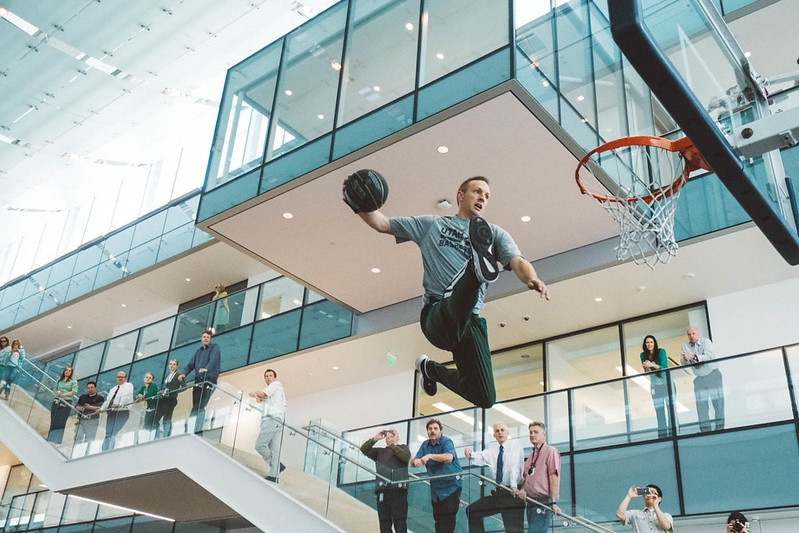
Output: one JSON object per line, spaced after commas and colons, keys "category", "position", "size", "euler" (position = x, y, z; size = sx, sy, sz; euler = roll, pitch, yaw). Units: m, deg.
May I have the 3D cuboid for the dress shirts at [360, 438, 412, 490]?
{"category": "dress shirts", "position": [-0.243, 3.251, 8.758], "size": [0.847, 0.883, 0.482], "euler": [-2, -54, 4]}

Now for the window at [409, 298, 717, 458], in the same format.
{"category": "window", "position": [3.393, 2.052, 10.122], "size": [4.224, 2.289, 0.146], "euler": [-16, -40, 27]}

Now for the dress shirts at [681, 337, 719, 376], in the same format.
{"category": "dress shirts", "position": [5.529, 1.705, 10.018], "size": [0.572, 0.703, 0.744], "euler": [-12, -15, 32]}

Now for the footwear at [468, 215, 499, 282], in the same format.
{"category": "footwear", "position": [0.667, -0.140, 4.268], "size": [0.208, 0.528, 0.217], "euler": [-4, -17, -22]}

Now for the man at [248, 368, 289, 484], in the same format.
{"category": "man", "position": [-2.545, 3.083, 10.331], "size": [1.133, 2.266, 0.857], "euler": [2, -63, -10]}

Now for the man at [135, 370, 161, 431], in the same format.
{"category": "man", "position": [-5.447, 3.017, 11.594], "size": [0.559, 1.347, 0.476], "euler": [0, -20, -24]}

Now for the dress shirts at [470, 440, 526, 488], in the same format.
{"category": "dress shirts", "position": [1.504, 3.044, 8.185], "size": [0.580, 0.691, 0.909], "euler": [30, -42, -13]}

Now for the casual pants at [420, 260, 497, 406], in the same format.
{"category": "casual pants", "position": [0.545, 0.668, 4.647], "size": [0.555, 0.528, 1.475], "euler": [18, -30, -4]}

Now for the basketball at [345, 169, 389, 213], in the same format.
{"category": "basketball", "position": [-0.300, -0.662, 4.483], "size": [0.350, 0.435, 0.291], "euler": [3, -34, -4]}

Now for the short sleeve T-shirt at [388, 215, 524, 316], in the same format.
{"category": "short sleeve T-shirt", "position": [0.433, -0.179, 4.817], "size": [0.895, 1.041, 0.482], "euler": [26, -42, -34]}
